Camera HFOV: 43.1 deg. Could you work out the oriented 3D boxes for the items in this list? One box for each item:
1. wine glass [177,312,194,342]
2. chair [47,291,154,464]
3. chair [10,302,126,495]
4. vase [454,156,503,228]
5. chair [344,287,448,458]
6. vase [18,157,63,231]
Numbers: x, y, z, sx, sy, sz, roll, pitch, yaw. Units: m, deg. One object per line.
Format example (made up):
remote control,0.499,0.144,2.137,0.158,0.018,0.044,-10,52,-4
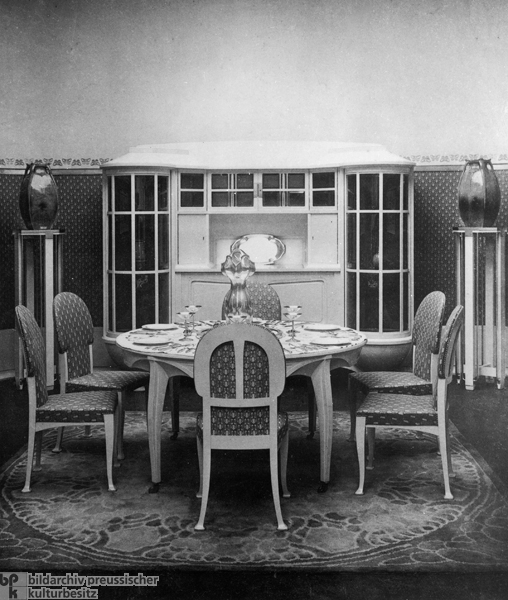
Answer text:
wine glass,-0.344,0.134,3.193,0.094,0.133,0.099,-5,12,-27
chair,-0.806,0.389,3.381,0.431,0.815,0.423,11,13,28
chair,-0.776,0.420,3.039,0.505,0.944,0.550,6,1,5
vase,1.665,-0.790,4.781,0.276,0.486,0.197,1,4,19
chair,0.731,0.426,3.240,0.490,0.940,0.502,-5,9,3
vase,-1.523,-0.731,4.547,0.232,0.454,0.124,-2,4,-24
